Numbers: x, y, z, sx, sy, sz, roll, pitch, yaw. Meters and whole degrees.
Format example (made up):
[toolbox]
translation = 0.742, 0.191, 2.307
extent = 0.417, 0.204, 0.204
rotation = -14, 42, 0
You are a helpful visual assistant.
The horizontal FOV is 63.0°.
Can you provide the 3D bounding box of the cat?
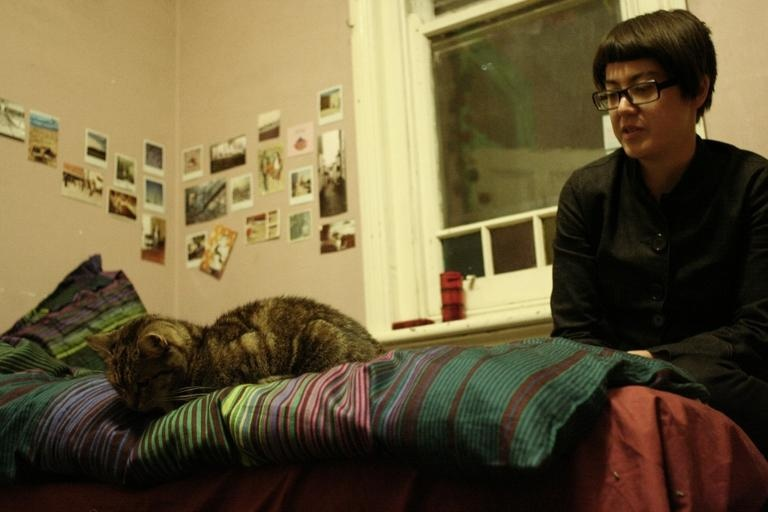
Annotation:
[cat]
translation = -0.500, 0.302, 2.065
extent = 0.647, 0.234, 0.414
rotation = -10, -6, -42
